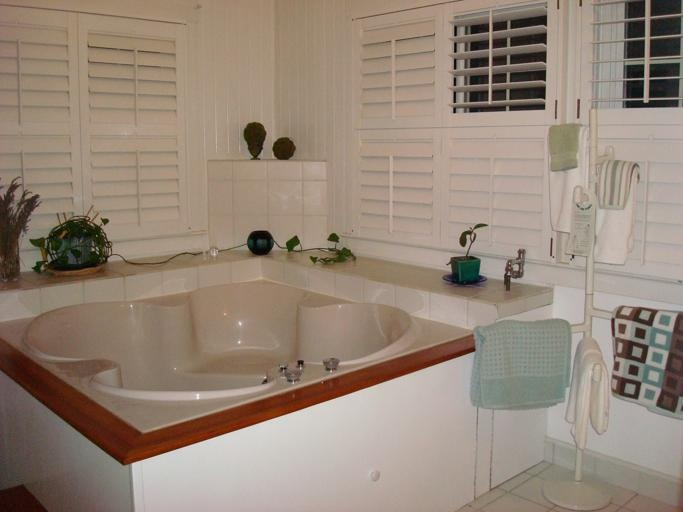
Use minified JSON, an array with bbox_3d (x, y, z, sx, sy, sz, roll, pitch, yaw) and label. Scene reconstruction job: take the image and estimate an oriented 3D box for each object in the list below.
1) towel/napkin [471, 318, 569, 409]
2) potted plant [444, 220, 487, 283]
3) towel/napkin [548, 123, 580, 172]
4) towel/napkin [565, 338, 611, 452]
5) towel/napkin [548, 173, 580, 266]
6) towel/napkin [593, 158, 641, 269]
[{"bbox_3d":[0.805,0.476,2.369,0.436,0.397,0.182,-4,18,-7],"label":"towel/napkin"},{"bbox_3d":[0.717,-0.029,2.996,0.198,0.324,0.298,5,13,25],"label":"potted plant"},{"bbox_3d":[1.088,-0.535,2.570,0.153,0.219,0.069,2,-3,35],"label":"towel/napkin"},{"bbox_3d":[1.104,0.631,2.349,0.164,0.505,0.231,5,13,27],"label":"towel/napkin"},{"bbox_3d":[1.080,-0.185,2.652,0.110,0.379,0.119,18,1,-31],"label":"towel/napkin"},{"bbox_3d":[1.255,-0.217,2.413,0.154,0.456,0.172,-16,19,-34],"label":"towel/napkin"}]
